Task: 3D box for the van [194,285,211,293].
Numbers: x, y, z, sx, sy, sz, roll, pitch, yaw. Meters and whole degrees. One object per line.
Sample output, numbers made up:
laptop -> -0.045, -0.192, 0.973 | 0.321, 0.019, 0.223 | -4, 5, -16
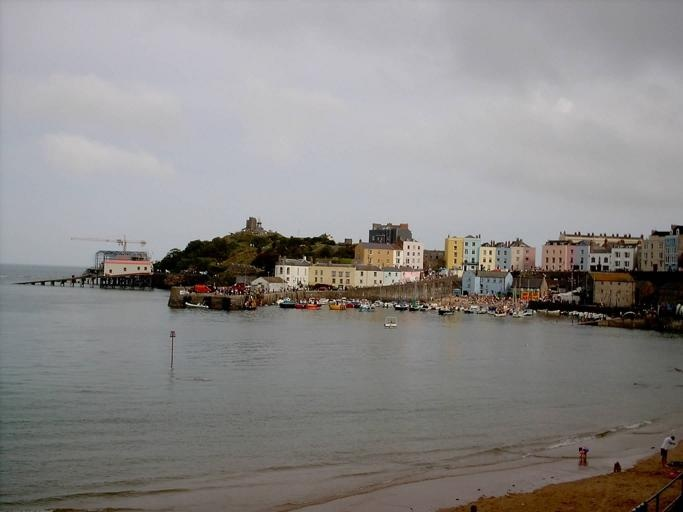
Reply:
van -> -15.747, 3.805, 100.646 | 1.939, 0.865, 3.016 | 1, 12, -3
